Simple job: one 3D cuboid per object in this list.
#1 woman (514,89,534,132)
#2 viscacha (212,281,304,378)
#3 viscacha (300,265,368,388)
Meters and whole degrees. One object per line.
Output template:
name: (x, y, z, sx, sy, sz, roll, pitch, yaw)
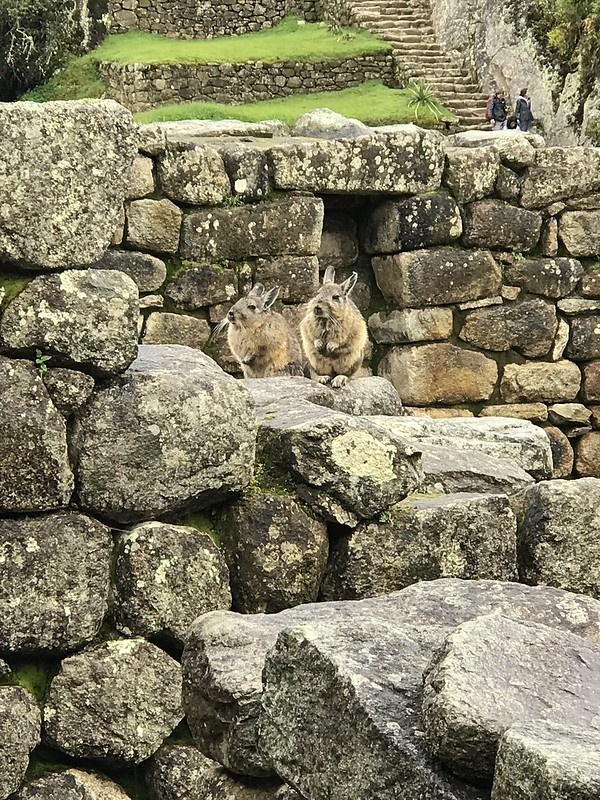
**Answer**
woman: (2.235, -2.917, 19.630, 0.189, 0.370, 0.699, 2, 25, 6)
viscacha: (-0.169, -0.353, 10.903, 0.316, 0.643, 0.627, 0, 6, 27)
viscacha: (0.194, -0.410, 10.854, 0.347, 0.721, 0.578, 2, -9, 10)
